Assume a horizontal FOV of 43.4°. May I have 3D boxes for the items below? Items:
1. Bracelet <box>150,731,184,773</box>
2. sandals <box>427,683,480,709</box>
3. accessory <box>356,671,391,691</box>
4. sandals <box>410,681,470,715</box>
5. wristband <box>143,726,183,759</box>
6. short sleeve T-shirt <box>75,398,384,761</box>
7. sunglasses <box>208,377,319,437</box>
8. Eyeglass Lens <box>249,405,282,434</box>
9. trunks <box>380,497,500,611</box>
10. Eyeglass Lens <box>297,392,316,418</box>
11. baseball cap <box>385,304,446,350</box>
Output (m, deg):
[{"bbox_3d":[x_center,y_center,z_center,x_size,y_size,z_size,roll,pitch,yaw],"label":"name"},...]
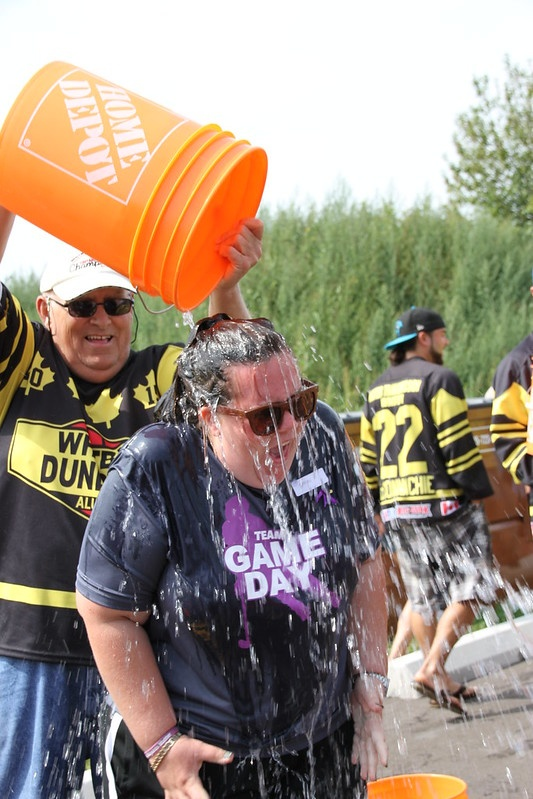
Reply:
[{"bbox_3d":[-0.202,0.669,1.286,0.027,0.074,0.058,36,-12,1],"label":"Bracelet"},{"bbox_3d":[1.216,1.855,4.171,0.381,0.171,0.137,11,-10,-19],"label":"sandals"},{"bbox_3d":[0.251,0.655,1.585,0.057,0.023,0.059,6,1,2],"label":"accessory"},{"bbox_3d":[1.086,1.847,4.140,0.229,0.082,0.094,26,14,12],"label":"sandals"},{"bbox_3d":[-0.200,0.660,1.288,0.063,0.024,0.053,-41,0,-23],"label":"wristband"},{"bbox_3d":[-0.035,0.370,1.492,0.671,0.685,0.368,-7,9,-24],"label":"short sleeve T-shirt"},{"bbox_3d":[0.025,0.026,1.340,0.124,0.050,0.132,6,16,43],"label":"sunglasses"},{"bbox_3d":[0.002,0.046,1.308,0.054,0.026,0.057,-14,-3,-21],"label":"Eyeglass Lens"},{"bbox_3d":[1.241,1.075,4.542,0.611,0.479,0.861,-8,-43,17],"label":"trunks"},{"bbox_3d":[0.074,0.016,1.421,0.049,0.022,0.049,-14,18,47],"label":"Eyeglass Lens"},{"bbox_3d":[1.063,-0.521,4.733,0.379,0.246,0.253,-21,3,-9],"label":"baseball cap"}]
